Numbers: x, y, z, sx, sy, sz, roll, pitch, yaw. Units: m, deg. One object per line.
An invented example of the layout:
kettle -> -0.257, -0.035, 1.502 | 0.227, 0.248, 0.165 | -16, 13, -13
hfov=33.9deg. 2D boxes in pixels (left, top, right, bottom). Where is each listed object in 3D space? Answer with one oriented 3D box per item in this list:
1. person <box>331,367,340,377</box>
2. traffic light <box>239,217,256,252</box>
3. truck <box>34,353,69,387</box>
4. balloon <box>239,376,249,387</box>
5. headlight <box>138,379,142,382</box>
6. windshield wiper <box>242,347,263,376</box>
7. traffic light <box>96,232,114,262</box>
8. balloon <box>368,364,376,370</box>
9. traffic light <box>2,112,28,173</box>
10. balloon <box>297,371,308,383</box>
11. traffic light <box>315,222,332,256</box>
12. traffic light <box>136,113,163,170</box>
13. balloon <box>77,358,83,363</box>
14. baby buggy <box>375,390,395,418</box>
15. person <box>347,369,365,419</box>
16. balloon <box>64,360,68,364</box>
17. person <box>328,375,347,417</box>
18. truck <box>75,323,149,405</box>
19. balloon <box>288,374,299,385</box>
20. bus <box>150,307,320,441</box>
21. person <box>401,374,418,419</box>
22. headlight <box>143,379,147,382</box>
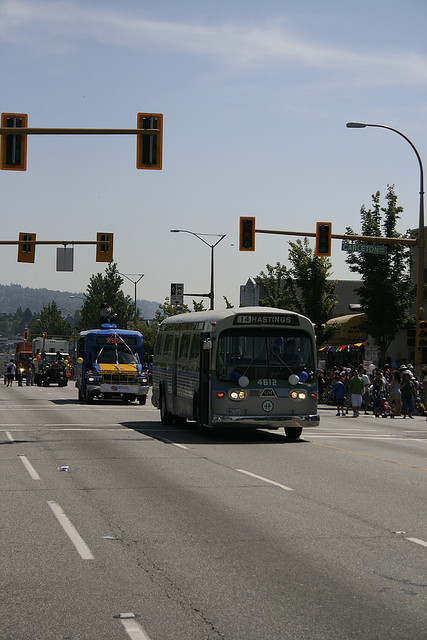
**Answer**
person -> 6.200, 2.654, 35.411 | 0.197, 0.471, 0.934 | 7, -4, 7
traffic light -> 1.313, -3.339, 27.367 | 0.585, 1.447, 1.039 | 2, -2, 0
truck -> -13.983, 4.213, 60.223 | 2.088, 2.138, 3.546 | 1, -3, -14
balloon -> 0.719, 1.446, 16.351 | 0.245, 0.250, 0.079 | 3, -2, -27
headlight -> -3.378, 2.765, 31.932 | 0.113, 0.124, 0.068 | -1, 11, 9
windshield wiper -> 0.916, 1.017, 16.558 | 0.025, 0.730, 0.024 | 32, -3, -26
traffic light -> -5.060, -3.344, 32.384 | 0.696, 1.349, 0.524 | 2, -2, -2
balloon -> 7.545, 2.271, 33.103 | 0.247, 0.299, 0.195 | 2, 7, 11
traffic light -> -4.861, -4.297, 16.972 | 0.616, 1.465, 0.650 | 3, -2, -15
balloon -> 2.154, 1.372, 16.808 | 0.286, 0.269, 0.084 | 4, -3, -36
traffic light -> 4.381, -3.205, 27.759 | 0.579, 1.307, 1.689 | 2, -2, 8
traffic light -> -1.561, -4.322, 16.931 | 0.586, 1.404, 0.508 | 2, -2, -7
balloon -> -6.235, 1.888, 32.500 | 0.234, 0.209, 0.299 | 3, -2, -8
baby buggy -> 7.178, 3.481, 29.164 | 0.606, 1.093, 0.977 | 2, -2, 10
person -> 5.754, 2.971, 28.127 | 0.513, 1.902, 1.435 | 2, -2, 12
balloon -> -12.929, 3.687, 60.932 | 0.239, 0.374, 0.339 | -3, -5, 27
person -> 5.330, 3.208, 29.610 | 0.653, 1.742, 0.579 | -2, -5, 2
truck -> -5.064, 2.168, 33.887 | 2.043, 2.773, 4.913 | 1, -5, -12
balloon -> 1.920, 1.418, 16.620 | 0.276, 0.238, 0.092 | 3, -2, -16
bus -> 0.129, 1.450, 20.424 | 2.560, 3.618, 8.423 | 2, -2, -15
person -> 7.974, 3.110, 28.496 | 0.539, 1.780, 1.120 | 1, -2, 31
headlight -> -3.158, 2.791, 32.075 | 0.196, 0.116, 0.050 | 4, -3, -28
